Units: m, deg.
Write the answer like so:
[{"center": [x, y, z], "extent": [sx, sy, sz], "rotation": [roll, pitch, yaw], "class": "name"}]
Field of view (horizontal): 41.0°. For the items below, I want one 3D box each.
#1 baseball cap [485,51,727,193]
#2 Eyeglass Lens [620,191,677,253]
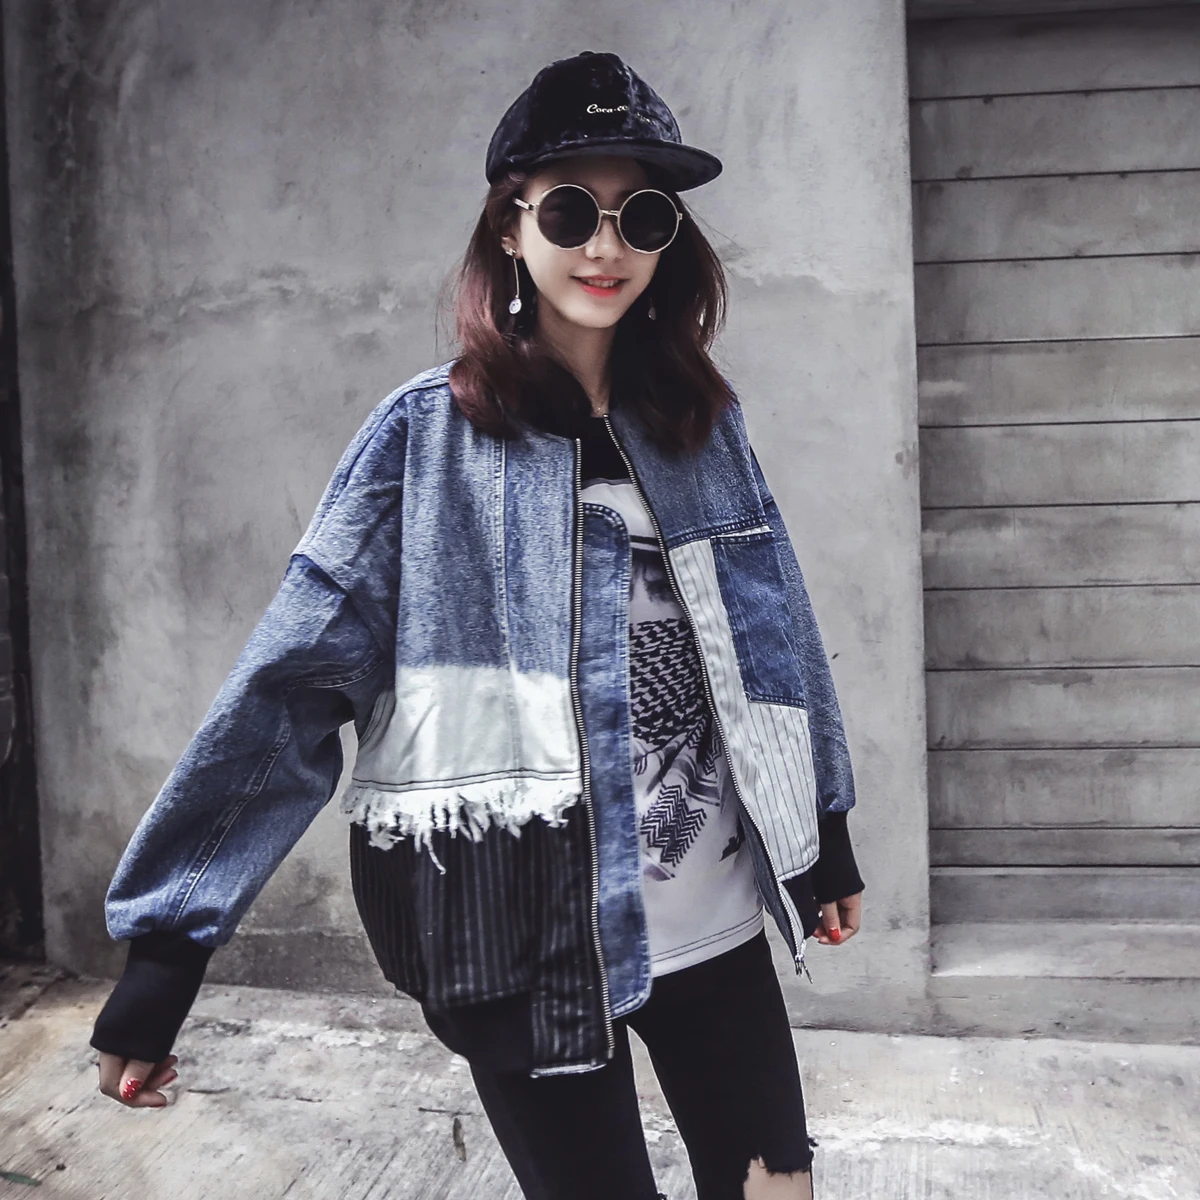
[{"center": [0.009, -0.724, 2.509], "extent": [0.302, 0.143, 0.222], "rotation": [-1, 4, 40], "class": "baseball cap"}, {"center": [0.076, -0.601, 2.541], "extent": [0.050, 0.092, 0.104], "rotation": [7, -6, -23], "class": "Eyeglass Lens"}]
